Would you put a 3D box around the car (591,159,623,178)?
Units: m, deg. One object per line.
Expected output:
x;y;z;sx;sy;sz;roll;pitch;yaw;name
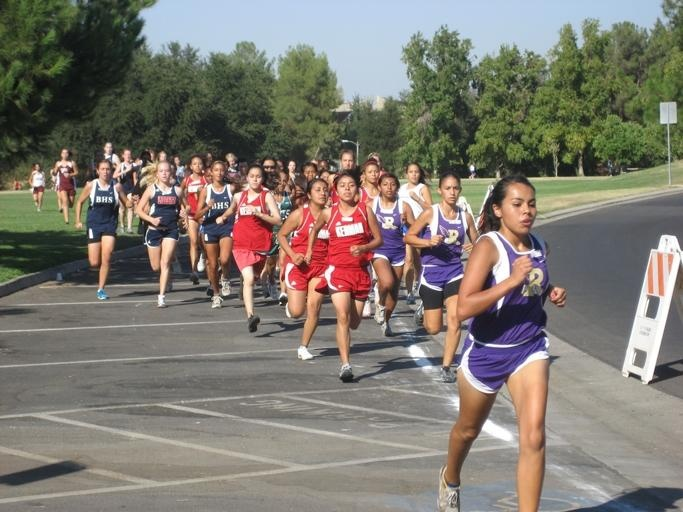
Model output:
28.860;-10.118;88.628;2.597;2.943;2.550;-2;-1;-40;car

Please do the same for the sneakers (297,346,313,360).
-0.447;1.197;9.946;0.093;0.125;0.264;2;-3;-20;sneakers

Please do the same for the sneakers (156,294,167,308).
-3.040;0.784;13.836;0.110;0.149;0.318;1;-2;-18;sneakers

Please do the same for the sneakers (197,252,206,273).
-3.044;0.167;17.848;0.162;0.513;0.210;3;-24;-5;sneakers

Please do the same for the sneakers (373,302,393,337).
0.588;0.910;11.762;0.155;0.226;0.518;2;16;-10;sneakers

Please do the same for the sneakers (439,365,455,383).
1.162;1.304;8.955;0.120;0.175;0.193;-1;-5;26;sneakers

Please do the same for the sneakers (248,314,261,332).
-1.223;0.952;11.308;0.112;0.315;0.146;3;40;-30;sneakers

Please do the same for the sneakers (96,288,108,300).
-4.265;0.681;14.608;0.130;0.163;0.348;-1;4;-29;sneakers
